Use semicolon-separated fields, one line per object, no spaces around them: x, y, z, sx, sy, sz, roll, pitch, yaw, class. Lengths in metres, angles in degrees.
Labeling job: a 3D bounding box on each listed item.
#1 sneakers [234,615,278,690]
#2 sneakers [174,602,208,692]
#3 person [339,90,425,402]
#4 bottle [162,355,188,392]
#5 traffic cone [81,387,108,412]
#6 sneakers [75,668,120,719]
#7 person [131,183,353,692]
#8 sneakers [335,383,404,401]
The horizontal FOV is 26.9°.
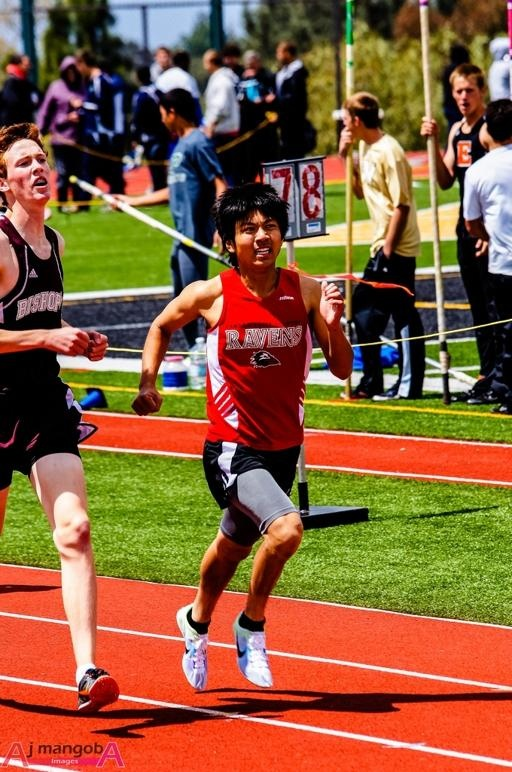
-0.005;0.830;3.364;0.093;0.246;0.097;0;-43;-29;sneakers
-0.197;0.834;3.426;0.089;0.264;0.110;6;-35;-34;sneakers
0.955;-1.023;8.027;0.584;2.330;0.800;-2;8;6;person
-0.685;-0.105;9.042;0.278;0.274;0.261;1;3;32;bottle
-1.249;0.100;8.392;0.186;0.173;0.202;-6;-3;35;traffic cone
-0.431;0.816;2.882;0.067;0.077;0.173;-8;-19;-37;sneakers
-0.044;0.164;3.450;0.670;1.616;0.641;0;8;19;person
0.892;0.035;8.435;0.487;0.172;0.159;1;0;19;sneakers
